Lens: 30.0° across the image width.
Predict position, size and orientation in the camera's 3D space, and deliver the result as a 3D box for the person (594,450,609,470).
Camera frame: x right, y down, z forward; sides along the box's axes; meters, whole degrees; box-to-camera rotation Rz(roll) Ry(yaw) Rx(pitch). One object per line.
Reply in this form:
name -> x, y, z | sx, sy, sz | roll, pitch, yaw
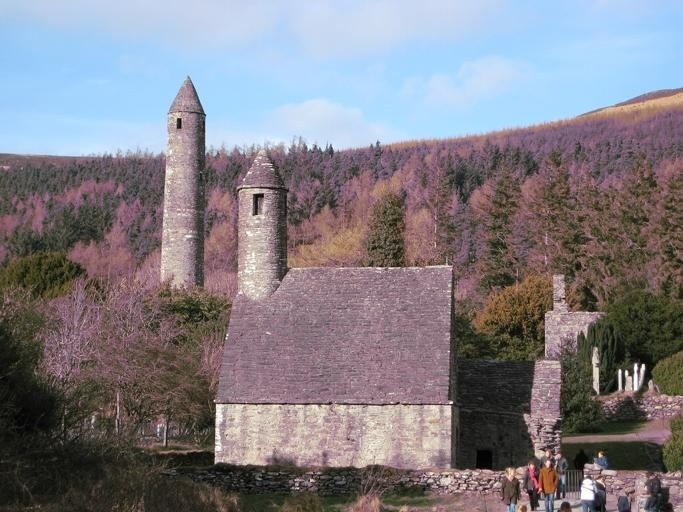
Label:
person -> 14.900, 11.741, 73.174 | 0.455, 1.121, 0.775 | -2, -21, -40
